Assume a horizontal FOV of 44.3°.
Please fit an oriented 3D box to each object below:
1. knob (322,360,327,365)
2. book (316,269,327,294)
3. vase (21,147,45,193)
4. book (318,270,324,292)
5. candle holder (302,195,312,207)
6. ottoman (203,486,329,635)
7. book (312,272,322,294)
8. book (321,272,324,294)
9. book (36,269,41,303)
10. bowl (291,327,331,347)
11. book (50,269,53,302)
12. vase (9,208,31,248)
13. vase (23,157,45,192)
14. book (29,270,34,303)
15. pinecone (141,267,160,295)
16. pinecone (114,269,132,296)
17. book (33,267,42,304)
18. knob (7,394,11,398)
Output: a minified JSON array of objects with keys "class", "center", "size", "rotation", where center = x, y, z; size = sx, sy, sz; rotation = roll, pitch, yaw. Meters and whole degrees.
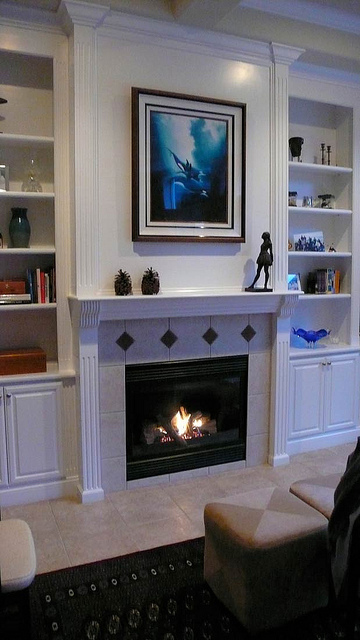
[{"class":"knob","center":[1.158,0.344,3.558],"size":[0.038,0.036,0.023],"rotation":[-2,5,-15]},{"class":"book","center":[1.200,-0.322,3.753],"size":[0.086,0.202,0.141],"rotation":[-1,11,-1]},{"class":"vase","center":[-0.903,-0.918,2.724],"size":[0.129,0.203,0.149],"rotation":[-1,0,-29]},{"class":"book","center":[1.194,-0.328,3.752],"size":[0.070,0.165,0.147],"rotation":[0,3,7]},{"class":"candle holder","center":[1.045,-0.971,3.629],"size":[0.067,0.100,0.078],"rotation":[-1,12,-4]},{"class":"ottoman","center":[0.338,0.934,1.743],"size":[0.420,0.463,0.420],"rotation":[-1,0,-24]},{"class":"book","center":[1.173,-0.315,3.757],"size":[0.060,0.182,0.024],"rotation":[-1,0,18]},{"class":"book","center":[1.208,-0.314,3.754],"size":[0.024,0.181,0.021],"rotation":[-1,0,5]},{"class":"book","center":[-0.868,-0.213,2.718],"size":[0.020,0.198,0.149],"rotation":[-2,10,-14]},{"class":"bowl","center":[1.084,0.152,3.662],"size":[0.267,0.156,0.134],"rotation":[-1,0,14]},{"class":"book","center":[-0.798,-0.212,2.744],"size":[0.017,0.146,0.025],"rotation":[0,0,-18]},{"class":"vase","center":[-0.973,-0.539,2.688],"size":[0.110,0.259,0.131],"rotation":[-5,-8,7]},{"class":"vase","center":[-0.895,-0.898,2.729],"size":[0.131,0.259,0.143],"rotation":[-1,0,-27]},{"class":"book","center":[-0.908,-0.201,2.693],"size":[0.018,0.169,0.134],"rotation":[-3,21,-15]},{"class":"pinecone","center":[-0.184,-0.240,2.712],"size":[0.122,0.238,0.119],"rotation":[0,5,-9]},{"class":"pinecone","center":[-0.339,-0.226,2.622],"size":[0.104,0.195,0.118],"rotation":[0,1,-13]},{"class":"book","center":[-0.875,-0.201,2.720],"size":[0.021,0.204,0.156],"rotation":[-1,9,-16]},{"class":"knob","center":[-0.988,0.440,2.561],"size":[0.007,0.020,0.019],"rotation":[-1,0,38]}]
